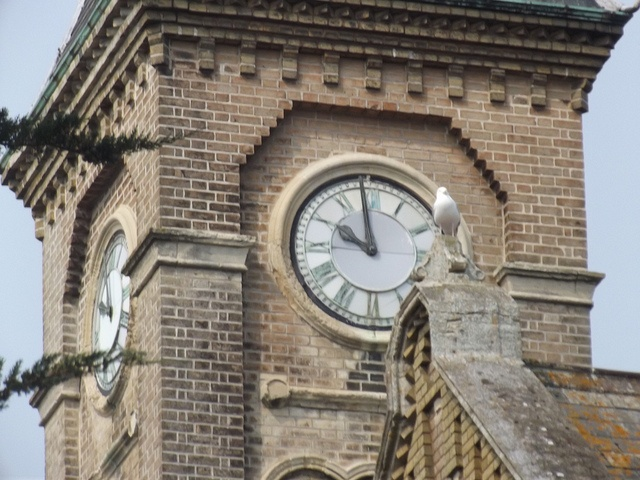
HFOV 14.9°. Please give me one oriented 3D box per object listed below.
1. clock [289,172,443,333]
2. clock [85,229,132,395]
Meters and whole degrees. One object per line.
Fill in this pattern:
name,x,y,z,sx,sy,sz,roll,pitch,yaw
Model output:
clock,0.509,0.290,34.082,1.931,2.300,0.284,3,-24,-21
clock,-3.177,1.206,36.045,0.050,2.461,2.245,5,-16,-22
